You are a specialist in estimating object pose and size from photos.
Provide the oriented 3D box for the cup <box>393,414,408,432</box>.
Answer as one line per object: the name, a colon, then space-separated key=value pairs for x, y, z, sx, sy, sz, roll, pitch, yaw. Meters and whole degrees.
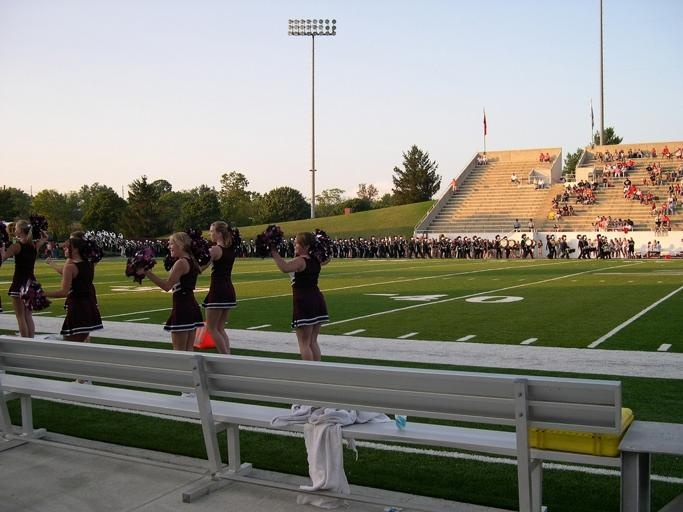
cup: x=0.413 y=1.127 z=4.407 sx=0.072 sy=0.108 sz=0.133 roll=0 pitch=4 yaw=6

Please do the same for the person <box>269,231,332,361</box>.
person: x=-0.410 y=0.424 z=6.659 sx=0.390 sy=1.348 sz=0.820 roll=1 pitch=4 yaw=25

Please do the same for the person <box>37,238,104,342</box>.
person: x=-3.021 y=0.402 z=7.268 sx=0.413 sy=1.276 sz=0.696 roll=1 pitch=4 yaw=29

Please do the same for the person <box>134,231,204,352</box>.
person: x=-1.787 y=0.439 z=6.803 sx=0.600 sy=1.385 sz=1.262 roll=-2 pitch=4 yaw=-12
